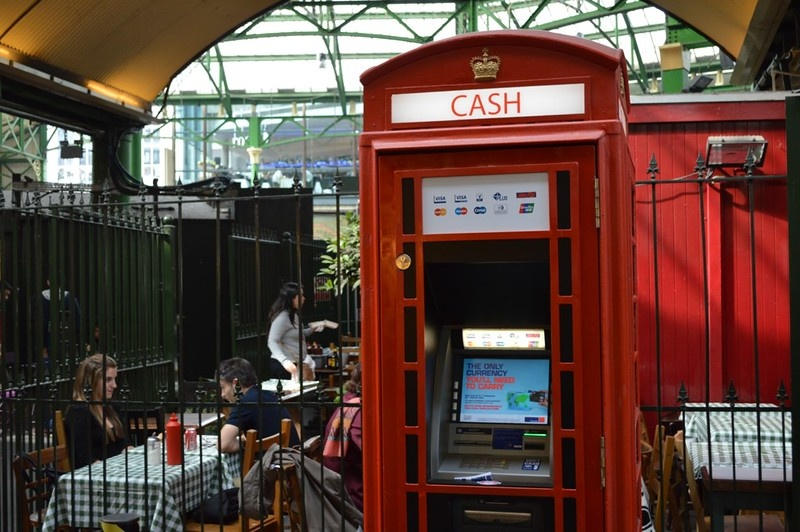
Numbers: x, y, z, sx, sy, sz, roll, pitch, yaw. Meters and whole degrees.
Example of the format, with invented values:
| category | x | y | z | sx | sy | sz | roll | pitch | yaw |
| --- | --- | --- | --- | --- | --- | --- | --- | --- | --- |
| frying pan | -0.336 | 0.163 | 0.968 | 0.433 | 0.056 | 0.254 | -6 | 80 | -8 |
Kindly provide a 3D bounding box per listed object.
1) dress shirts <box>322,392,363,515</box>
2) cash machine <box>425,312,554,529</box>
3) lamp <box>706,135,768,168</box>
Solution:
| category | x | y | z | sx | sy | sz | roll | pitch | yaw |
| --- | --- | --- | --- | --- | --- | --- | --- | --- | --- |
| dress shirts | -0.494 | 1.580 | 7.497 | 0.395 | 1.080 | 0.417 | 2 | -1 | 16 |
| cash machine | 0.657 | 1.169 | 6.625 | 1.655 | 1.448 | 1.011 | -2 | -2 | 15 |
| lamp | 3.368 | -1.119 | 8.793 | 0.567 | 0.293 | 0.694 | -2 | -6 | 20 |
